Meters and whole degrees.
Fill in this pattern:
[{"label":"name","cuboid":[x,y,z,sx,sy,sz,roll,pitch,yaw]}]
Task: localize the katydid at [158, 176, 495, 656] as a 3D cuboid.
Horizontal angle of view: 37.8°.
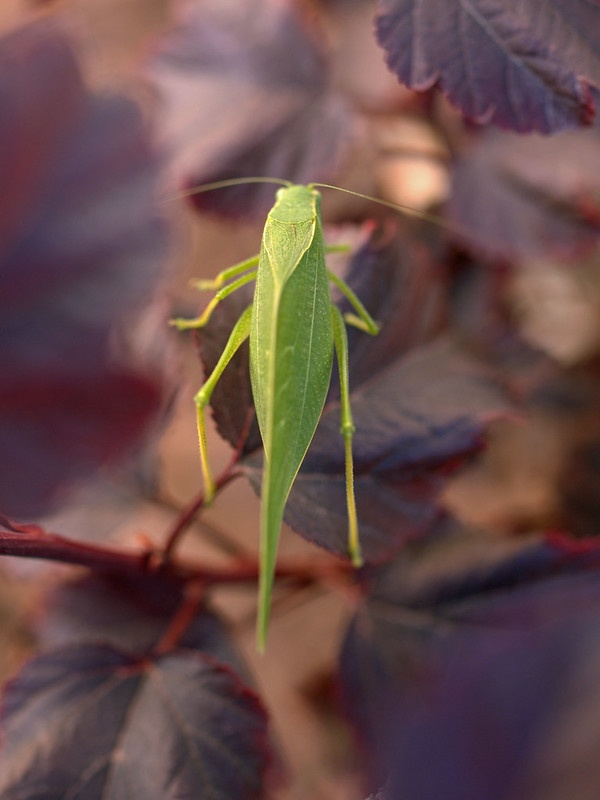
[{"label":"katydid","cuboid":[0.023,0.014,0.571,0.228,0.097,0.248,9,67,8]}]
